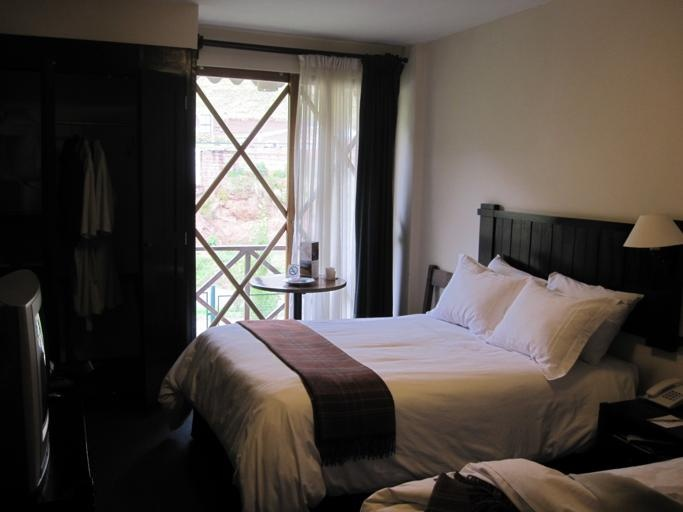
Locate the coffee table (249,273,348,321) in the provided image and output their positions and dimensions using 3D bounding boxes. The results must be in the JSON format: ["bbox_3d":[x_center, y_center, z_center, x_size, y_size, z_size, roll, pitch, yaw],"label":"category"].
[{"bbox_3d":[-0.381,0.372,5.168,0.658,0.529,0.690,0,3,-4],"label":"coffee table"}]

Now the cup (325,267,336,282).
[{"bbox_3d":[-0.098,0.157,4.898,0.097,0.120,0.100,-1,11,0],"label":"cup"}]
